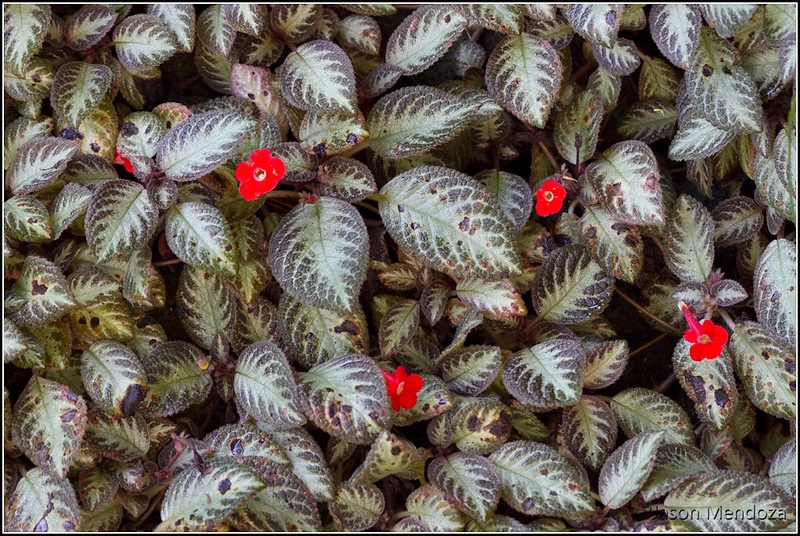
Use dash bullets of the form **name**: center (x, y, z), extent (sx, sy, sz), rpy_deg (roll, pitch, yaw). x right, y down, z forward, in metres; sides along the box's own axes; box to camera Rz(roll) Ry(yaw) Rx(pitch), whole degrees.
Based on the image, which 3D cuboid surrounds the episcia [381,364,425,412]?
- **episcia**: center (-0.009, 0.906, 5.081), extent (0.325, 0.092, 0.280), rpy_deg (46, 77, -21)

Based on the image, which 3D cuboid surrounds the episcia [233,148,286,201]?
- **episcia**: center (-0.969, -0.657, 4.996), extent (0.313, 0.313, 0.406), rpy_deg (0, 74, 2)
